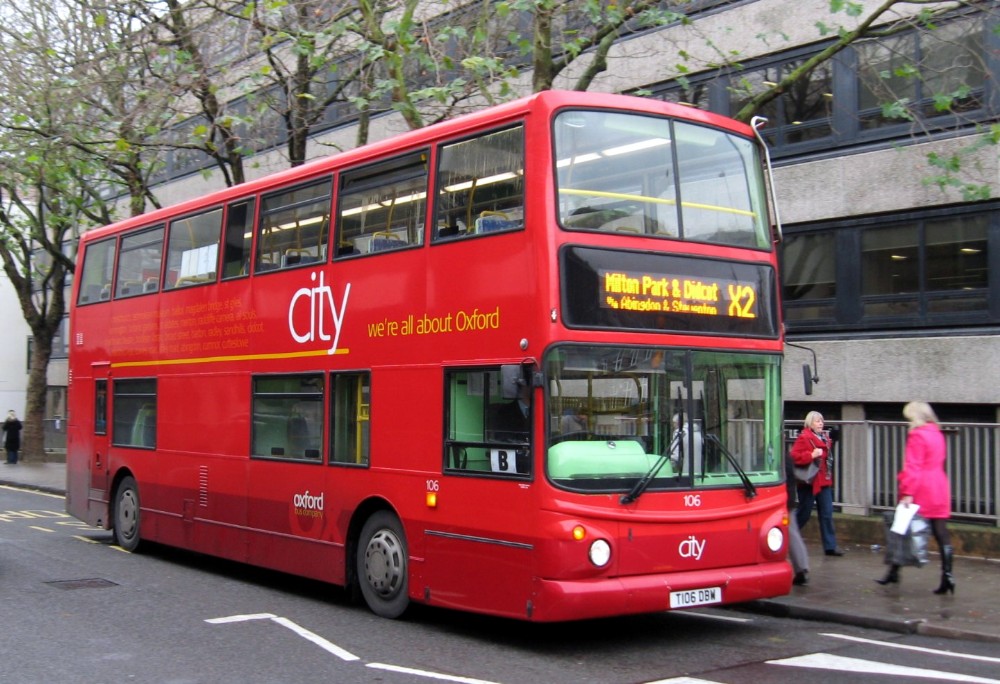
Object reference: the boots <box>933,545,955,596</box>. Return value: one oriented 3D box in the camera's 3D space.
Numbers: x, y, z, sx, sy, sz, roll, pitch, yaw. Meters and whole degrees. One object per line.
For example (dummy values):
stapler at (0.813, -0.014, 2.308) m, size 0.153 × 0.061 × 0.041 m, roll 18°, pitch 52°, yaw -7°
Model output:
boots at (5.838, 2.928, 11.676) m, size 0.246 × 0.726 × 0.508 m, roll -1°, pitch -3°, yaw 26°

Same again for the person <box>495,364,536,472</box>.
person at (0.168, 0.795, 9.307) m, size 0.335 × 1.123 × 0.519 m, roll 0°, pitch -3°, yaw -1°

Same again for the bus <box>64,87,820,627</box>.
bus at (-2.017, 0.831, 14.778) m, size 4.964 × 5.678 × 13.343 m, roll 3°, pitch -5°, yaw -40°

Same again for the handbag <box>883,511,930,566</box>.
handbag at (5.334, 2.568, 11.640) m, size 0.490 × 0.642 × 0.308 m, roll -1°, pitch -3°, yaw 18°
